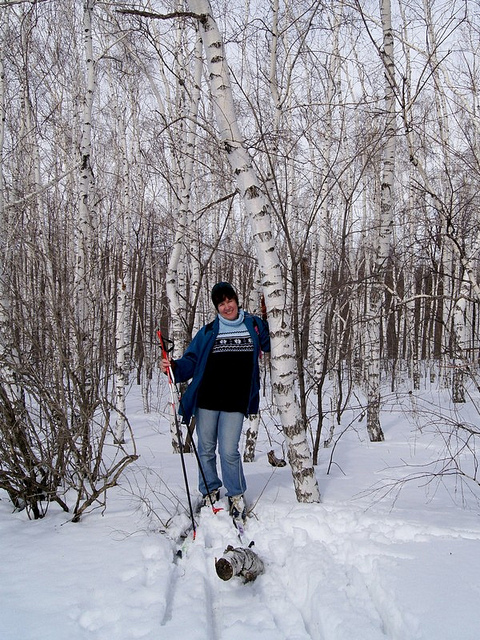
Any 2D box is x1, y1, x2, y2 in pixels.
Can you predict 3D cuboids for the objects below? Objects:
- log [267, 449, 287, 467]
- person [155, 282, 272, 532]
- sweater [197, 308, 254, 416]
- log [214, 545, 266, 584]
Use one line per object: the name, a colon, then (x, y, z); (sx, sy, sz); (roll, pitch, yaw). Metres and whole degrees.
log: (0.375, 1.388, 6.490); (0.160, 0.187, 0.110); (-11, -27, 39)
person: (-0.125, 0.604, 4.976); (0.715, 1.765, 0.445); (-1, 2, -1)
sweater: (-0.107, 0.355, 4.993); (0.548, 0.761, 0.176); (5, -18, 1)
log: (-0.004, 1.493, 4.066); (0.385, 0.221, 0.259); (0, 1, 25)
